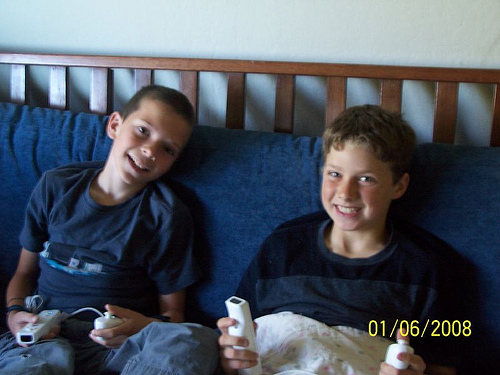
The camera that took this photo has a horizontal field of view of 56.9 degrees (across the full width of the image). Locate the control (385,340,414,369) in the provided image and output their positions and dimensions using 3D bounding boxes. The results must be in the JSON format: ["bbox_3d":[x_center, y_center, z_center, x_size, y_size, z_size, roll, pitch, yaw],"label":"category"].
[{"bbox_3d":[0.352,0.389,1.083,0.062,0.064,0.030,1,8,16],"label":"control"}]

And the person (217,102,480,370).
[{"bbox_3d":[0.302,0.134,1.335,0.674,0.747,0.295,-2,8,-8],"label":"person"}]

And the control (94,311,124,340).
[{"bbox_3d":[-0.394,0.371,1.273,0.070,0.066,0.068,7,-5,-43],"label":"control"}]

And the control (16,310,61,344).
[{"bbox_3d":[-0.574,0.378,1.274,0.068,0.071,0.132,2,3,10],"label":"control"}]
